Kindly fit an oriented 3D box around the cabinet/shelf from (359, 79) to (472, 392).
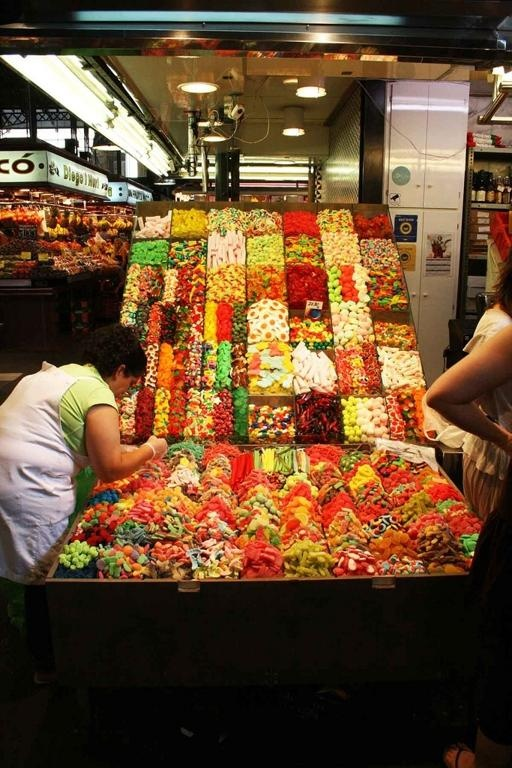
[{"bbox_3d":[1.939,-1.659,6.454,1.088,3.638,0.642,-2,12,-5],"label":"cabinet/shelf"}]
